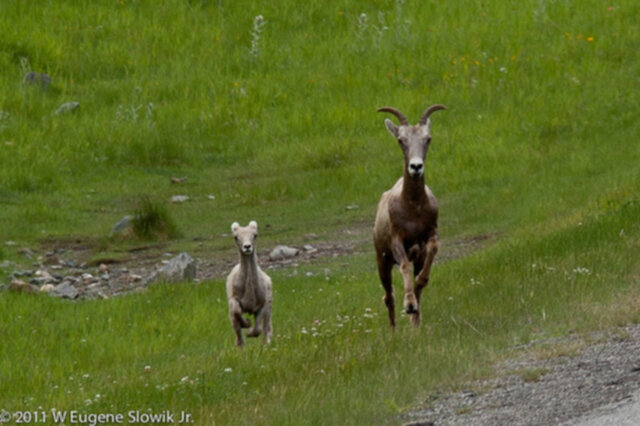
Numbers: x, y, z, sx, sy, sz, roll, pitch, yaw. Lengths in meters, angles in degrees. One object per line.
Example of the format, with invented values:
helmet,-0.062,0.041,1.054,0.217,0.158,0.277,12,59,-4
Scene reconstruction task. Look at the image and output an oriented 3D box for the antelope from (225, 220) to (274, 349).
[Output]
antelope,-2.250,2.168,39.947,1.089,3.860,1.227,-10,-1,19
